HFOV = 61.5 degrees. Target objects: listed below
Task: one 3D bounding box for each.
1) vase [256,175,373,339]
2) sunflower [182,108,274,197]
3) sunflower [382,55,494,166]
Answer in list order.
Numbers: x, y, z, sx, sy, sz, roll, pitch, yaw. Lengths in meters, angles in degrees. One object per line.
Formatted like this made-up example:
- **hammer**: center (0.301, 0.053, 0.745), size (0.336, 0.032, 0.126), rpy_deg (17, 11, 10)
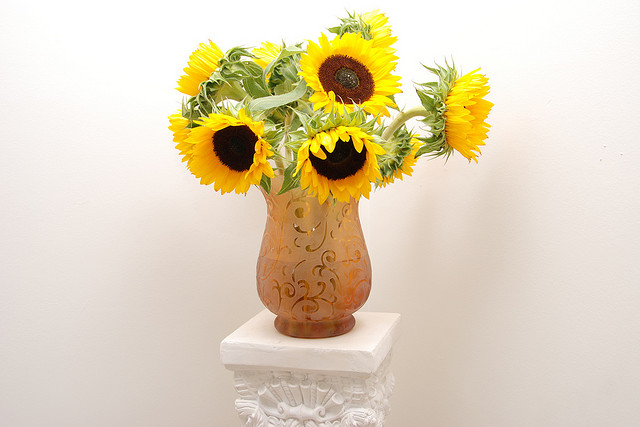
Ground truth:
- **vase**: center (-0.017, 0.125, 1.895), size (0.401, 0.417, 0.575), rpy_deg (0, -79, 8)
- **sunflower**: center (-0.268, -0.178, 1.585), size (0.245, 0.067, 0.260), rpy_deg (30, -80, -1)
- **sunflower**: center (0.315, -0.300, 1.789), size (0.396, 0.381, 0.350), rpy_deg (3, -97, 18)
